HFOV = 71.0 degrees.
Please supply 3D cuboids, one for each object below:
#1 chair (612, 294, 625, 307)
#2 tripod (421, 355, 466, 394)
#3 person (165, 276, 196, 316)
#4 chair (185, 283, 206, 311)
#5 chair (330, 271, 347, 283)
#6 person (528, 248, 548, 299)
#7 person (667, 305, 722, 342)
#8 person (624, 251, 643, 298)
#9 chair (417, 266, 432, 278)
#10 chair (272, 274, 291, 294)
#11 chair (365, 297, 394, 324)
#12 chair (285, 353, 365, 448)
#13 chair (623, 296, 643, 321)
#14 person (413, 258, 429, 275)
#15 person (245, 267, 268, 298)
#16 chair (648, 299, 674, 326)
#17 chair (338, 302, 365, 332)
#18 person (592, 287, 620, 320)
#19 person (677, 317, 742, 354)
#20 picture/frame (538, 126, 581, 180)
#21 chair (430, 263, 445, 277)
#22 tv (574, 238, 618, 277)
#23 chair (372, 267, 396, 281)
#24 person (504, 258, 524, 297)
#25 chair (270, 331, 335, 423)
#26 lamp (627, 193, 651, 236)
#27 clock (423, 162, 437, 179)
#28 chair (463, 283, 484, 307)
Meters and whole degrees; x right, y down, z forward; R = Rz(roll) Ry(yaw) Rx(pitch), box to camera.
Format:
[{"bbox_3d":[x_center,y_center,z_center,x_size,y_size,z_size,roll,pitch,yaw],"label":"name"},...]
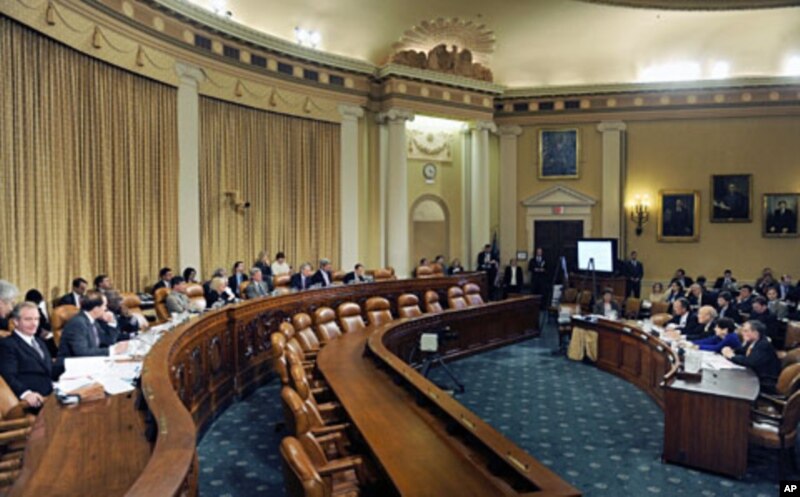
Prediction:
[{"bbox_3d":[5.168,1.253,13.333,0.305,0.393,0.350,-5,-13,30],"label":"chair"},{"bbox_3d":[0.728,2.191,9.681,0.527,0.797,0.605,-16,3,17],"label":"tripod"},{"bbox_3d":[-3.871,0.862,9.884,0.319,0.864,0.378,-27,-23,15],"label":"person"},{"bbox_3d":[-3.714,0.891,10.148,0.394,0.448,0.316,-26,-18,36],"label":"chair"},{"bbox_3d":[-1.427,0.683,13.094,0.257,0.295,0.236,-2,4,-2],"label":"chair"},{"bbox_3d":[4.097,0.780,16.662,0.532,1.502,0.595,-1,4,15],"label":"person"},{"bbox_3d":[5.251,1.382,10.070,1.187,0.629,0.872,-7,-5,19],"label":"person"},{"bbox_3d":[6.645,0.776,16.096,0.437,1.317,0.807,2,5,41],"label":"person"},{"bbox_3d":[0.604,0.504,14.133,0.421,0.395,0.250,7,13,43],"label":"chair"},{"bbox_3d":[-2.482,0.748,11.690,0.384,0.477,0.431,2,-11,-11],"label":"chair"},{"bbox_3d":[-0.368,1.193,10.472,0.354,0.467,0.541,1,-18,-18],"label":"chair"},{"bbox_3d":[-0.939,2.032,6.869,0.796,1.011,0.825,-12,12,-20],"label":"chair"},{"bbox_3d":[5.312,1.373,12.882,0.453,0.607,0.482,-3,-11,31],"label":"chair"},{"bbox_3d":[0.523,0.344,14.421,0.386,0.622,0.709,1,-1,9],"label":"person"},{"bbox_3d":[-2.939,0.728,11.518,0.435,0.809,0.524,-3,2,7],"label":"person"},{"bbox_3d":[5.488,1.355,11.797,0.522,0.683,0.601,-4,-8,42],"label":"chair"},{"bbox_3d":[-0.811,1.222,9.814,0.394,0.555,0.477,6,-27,-33],"label":"chair"},{"bbox_3d":[4.595,1.249,12.558,0.447,0.714,0.622,5,-4,-31],"label":"person"},{"bbox_3d":[5.385,1.524,9.515,0.836,0.598,0.626,-8,4,30],"label":"person"},{"bbox_3d":[4.972,-2.986,17.368,1.583,1.968,0.205,0,3,12],"label":"picture/frame"},{"bbox_3d":[1.000,0.579,15.207,0.311,0.251,0.306,4,-7,-35],"label":"chair"},{"bbox_3d":[5.323,0.219,15.275,0.305,0.925,1.196,-5,4,-39],"label":"tv"},{"bbox_3d":[-0.401,0.637,13.764,0.372,0.385,0.367,3,4,-8],"label":"chair"},{"bbox_3d":[3.281,0.829,16.455,0.527,0.979,0.690,-1,3,10],"label":"person"},{"bbox_3d":[-1.282,1.710,7.529,0.496,0.577,1.345,-8,19,-13],"label":"chair"},{"bbox_3d":[7.181,-0.942,16.895,0.608,1.154,0.287,-1,4,16],"label":"lamp"},{"bbox_3d":[0.918,-2.347,17.227,0.491,0.509,0.125,-4,4,-35],"label":"clock"},{"bbox_3d":[1.701,1.053,12.634,0.398,0.568,0.479,1,-14,-37],"label":"chair"}]
